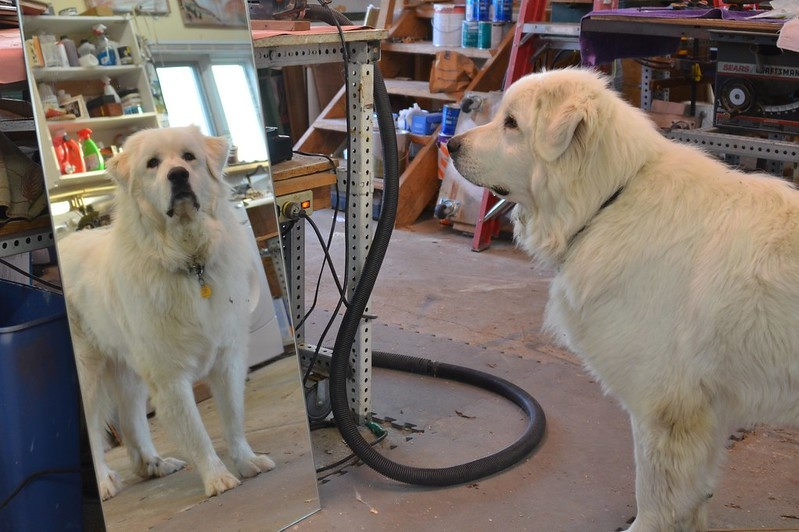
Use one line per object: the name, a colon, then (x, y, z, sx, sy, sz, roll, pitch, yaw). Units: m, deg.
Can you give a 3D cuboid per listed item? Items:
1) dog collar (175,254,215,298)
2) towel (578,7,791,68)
dog collar: (-0.751, 0.051, 2.411, 0.101, 0.154, 0.023, -10, 22, -20)
towel: (1.717, -1.421, 4.035, 0.613, 0.358, 1.077, -20, 27, -41)
